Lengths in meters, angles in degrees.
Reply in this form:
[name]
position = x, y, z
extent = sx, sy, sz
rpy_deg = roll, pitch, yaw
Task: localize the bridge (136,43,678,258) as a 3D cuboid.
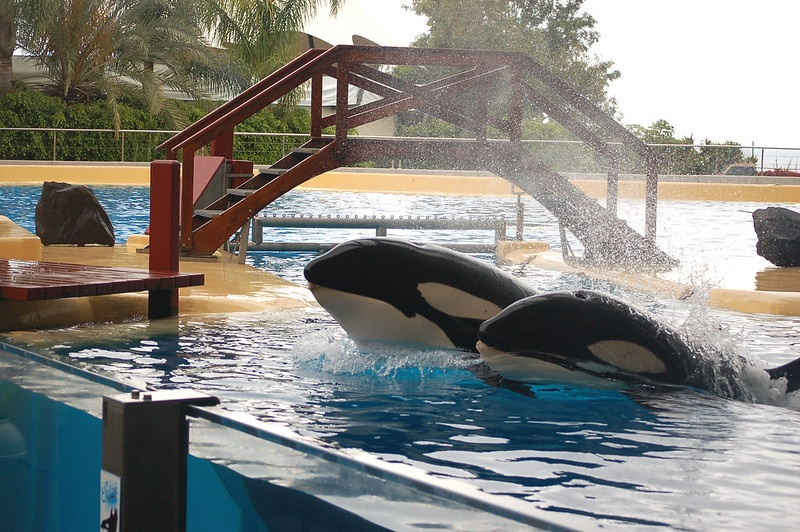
[bridge]
position = 0.130, -1.363, 9.742
extent = 6.080, 2.190, 1.091
rpy_deg = 0, 8, -10
